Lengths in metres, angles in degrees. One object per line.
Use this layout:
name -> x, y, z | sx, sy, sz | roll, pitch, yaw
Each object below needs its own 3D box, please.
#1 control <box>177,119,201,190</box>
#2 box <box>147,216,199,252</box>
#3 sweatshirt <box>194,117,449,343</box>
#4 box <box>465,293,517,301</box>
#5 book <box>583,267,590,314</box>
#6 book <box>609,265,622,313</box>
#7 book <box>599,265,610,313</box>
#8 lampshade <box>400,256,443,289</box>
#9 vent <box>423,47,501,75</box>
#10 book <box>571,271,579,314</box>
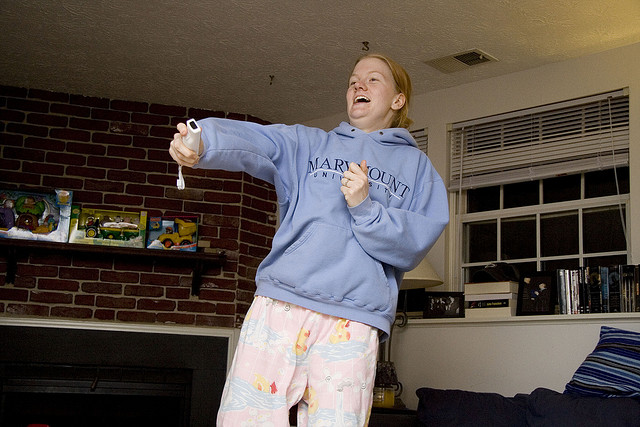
control -> -0.450, -0.203, 1.788 | 0.058, 0.242, 0.173 | 5, -10, -16
box -> -1.236, 0.169, 4.381 | 0.541, 0.358, 0.265 | 4, -15, -17
sweatshirt -> 0.062, 0.171, 1.951 | 0.775, 0.978, 0.413 | 1, -35, -4
box -> 1.182, 0.591, 3.689 | 0.317, 0.064, 0.065 | -2, -10, 24
book -> 1.682, 0.490, 3.319 | 0.031, 0.284, 0.032 | -2, -11, 26
book -> 1.821, 0.470, 3.240 | 0.065, 0.282, 0.019 | -5, -12, 37
book -> 1.779, 0.475, 3.269 | 0.051, 0.289, 0.051 | 8, -11, -28
lampshade -> 0.732, 0.427, 3.733 | 0.300, 0.200, 0.300 | -7, -21, -1
vent -> 1.029, -1.122, 3.840 | 0.472, 0.051, 0.247 | -3, -10, 33
book -> 1.632, 0.505, 3.359 | 0.037, 0.264, 0.018 | -2, -11, 25
